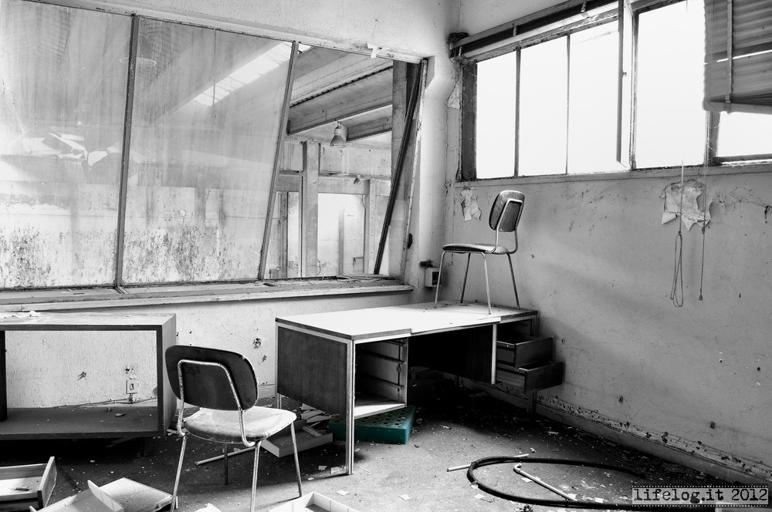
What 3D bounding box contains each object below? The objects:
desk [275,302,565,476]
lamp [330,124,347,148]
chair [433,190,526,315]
[{"bbox_3d":[0.105,0.944,5.329,1.910,1.040,0.927,-8,16,-36],"label":"desk"},{"bbox_3d":[-0.940,-2.248,11.571,0.297,0.518,0.327,7,9,41],"label":"lamp"},{"bbox_3d":[0.886,-0.044,5.881,0.799,1.221,0.791,10,16,32],"label":"chair"}]
